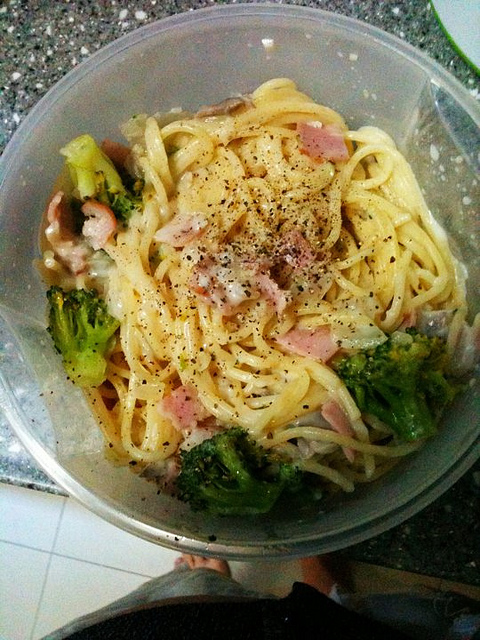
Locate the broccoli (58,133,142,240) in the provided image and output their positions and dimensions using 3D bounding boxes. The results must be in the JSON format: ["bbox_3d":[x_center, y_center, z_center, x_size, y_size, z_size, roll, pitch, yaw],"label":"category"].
[{"bbox_3d":[-0.481,-0.531,2.358,0.203,0.235,0.101,-32,87,-21],"label":"broccoli"}]

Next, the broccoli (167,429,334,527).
[{"bbox_3d":[0.046,0.497,2.356,0.349,0.645,0.168,18,110,17],"label":"broccoli"}]

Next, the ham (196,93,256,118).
[{"bbox_3d":[-0.049,-0.792,2.486,0.191,0.045,0.092,-12,46,15],"label":"ham"}]

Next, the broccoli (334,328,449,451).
[{"bbox_3d":[0.564,0.187,2.185,0.365,0.151,0.366,-33,82,-4],"label":"broccoli"}]

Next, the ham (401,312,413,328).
[{"bbox_3d":[0.574,0.000,2.275,0.043,0.013,0.046,-3,59,23],"label":"ham"}]

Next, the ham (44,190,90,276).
[{"bbox_3d":[-0.570,-0.299,2.354,0.098,0.268,0.136,-7,33,-6],"label":"ham"}]
